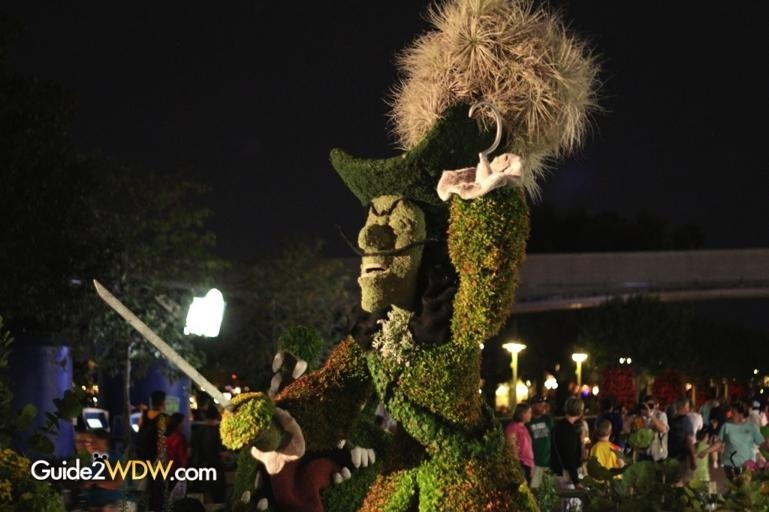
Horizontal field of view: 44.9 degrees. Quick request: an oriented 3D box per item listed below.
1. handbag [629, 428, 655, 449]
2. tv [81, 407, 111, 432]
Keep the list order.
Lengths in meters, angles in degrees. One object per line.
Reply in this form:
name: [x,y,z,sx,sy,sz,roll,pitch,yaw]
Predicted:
handbag: [2.639,1.848,9.542,0.197,0.277,0.065,21,21,11]
tv: [-4.691,2.569,14.872,0.399,0.350,0.580,8,-20,-10]
